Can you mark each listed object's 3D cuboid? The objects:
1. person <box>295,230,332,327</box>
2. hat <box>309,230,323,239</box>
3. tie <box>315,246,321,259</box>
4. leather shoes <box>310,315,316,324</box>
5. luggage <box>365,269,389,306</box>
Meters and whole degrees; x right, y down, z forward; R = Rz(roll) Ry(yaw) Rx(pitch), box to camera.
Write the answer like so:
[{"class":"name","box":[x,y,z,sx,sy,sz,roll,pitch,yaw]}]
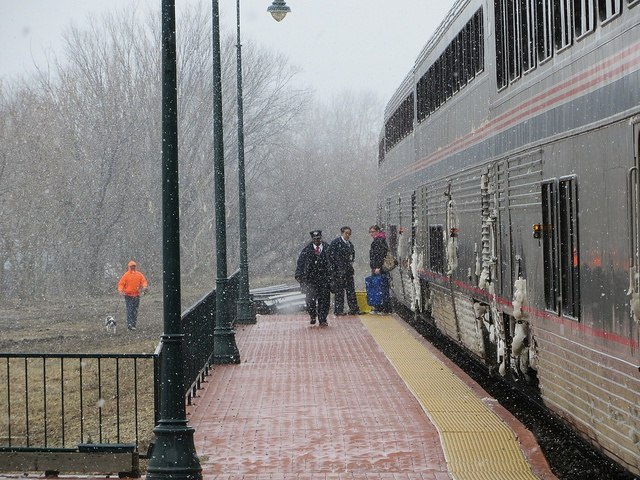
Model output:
[{"class":"person","box":[-0.118,0.958,16.622,0.928,2.735,0.915,-3,19,-2]},{"class":"hat","box":[-0.143,-0.120,16.529,0.200,0.181,0.248,0,-6,-1]},{"class":"tie","box":[-0.106,0.335,16.439,0.145,0.288,0.060,1,-9,-5]},{"class":"leather shoes","box":[-0.231,2.082,16.919,0.143,0.258,0.518,-1,-7,0]},{"class":"luggage","box":[1.646,1.518,18.777,0.626,0.877,0.665,1,-8,-34]}]
